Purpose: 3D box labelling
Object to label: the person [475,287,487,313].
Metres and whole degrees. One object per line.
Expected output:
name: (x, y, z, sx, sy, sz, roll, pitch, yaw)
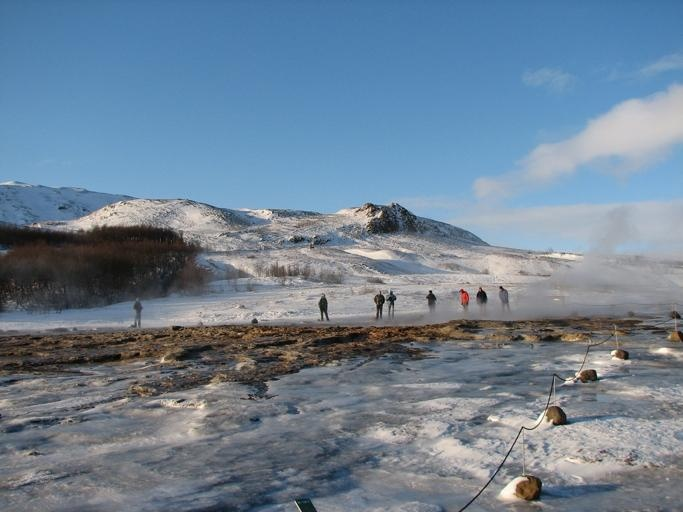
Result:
person: (7.881, 2.418, 30.398, 0.495, 1.451, 1.268, 0, 11, 11)
